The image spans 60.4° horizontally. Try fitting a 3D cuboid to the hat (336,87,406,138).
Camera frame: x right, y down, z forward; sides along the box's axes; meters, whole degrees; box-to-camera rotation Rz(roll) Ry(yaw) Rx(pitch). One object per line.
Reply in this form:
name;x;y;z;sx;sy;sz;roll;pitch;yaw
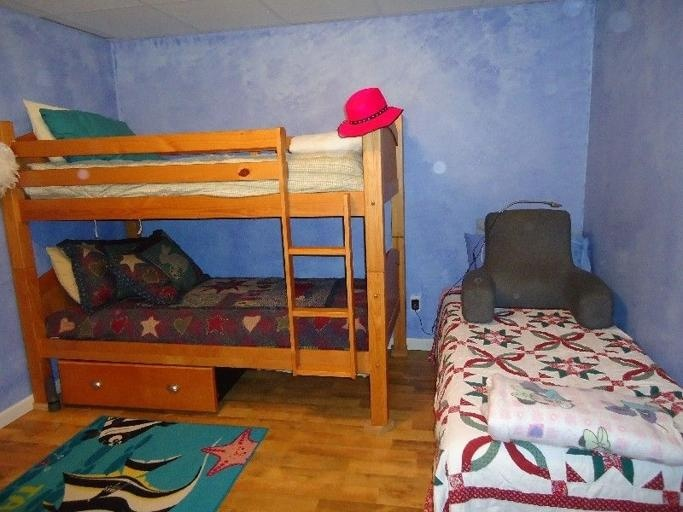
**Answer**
hat;0.160;-0.933;3.823;0.396;0.314;0.320;0;14;19
